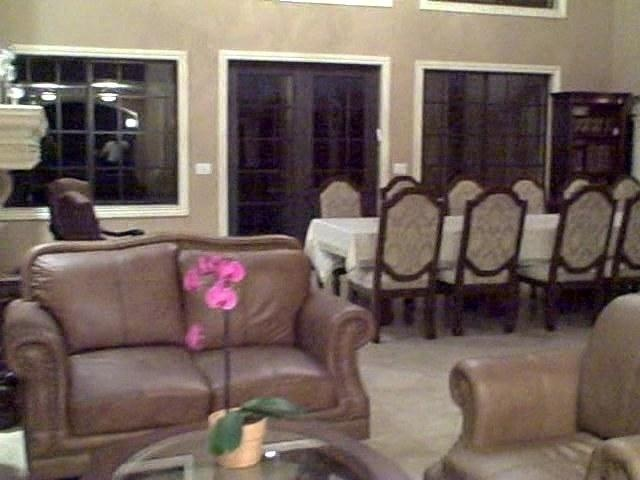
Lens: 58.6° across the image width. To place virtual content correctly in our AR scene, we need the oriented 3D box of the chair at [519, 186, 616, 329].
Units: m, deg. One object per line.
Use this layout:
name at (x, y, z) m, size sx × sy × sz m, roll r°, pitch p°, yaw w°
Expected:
chair at (1.082, 0.065, 2.563) m, size 0.335 × 0.622 × 0.398 m, roll -1°, pitch 9°, yaw -7°

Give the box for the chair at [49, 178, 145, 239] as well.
chair at (-1.118, -0.126, 2.651) m, size 0.400 × 0.278 × 0.180 m, roll 14°, pitch 13°, yaw 39°

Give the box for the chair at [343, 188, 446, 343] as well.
chair at (0.313, 0.090, 2.464) m, size 0.378 × 0.649 × 0.413 m, roll 2°, pitch 10°, yaw 2°

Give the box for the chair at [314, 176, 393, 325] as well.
chair at (0.101, -0.037, 2.909) m, size 0.293 × 0.496 × 0.308 m, roll -6°, pitch 20°, yaw -9°

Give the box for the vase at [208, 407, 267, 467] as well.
vase at (-0.157, 0.363, 1.088) m, size 0.097 × 0.078 × 0.110 m, roll -1°, pitch -4°, yaw 0°

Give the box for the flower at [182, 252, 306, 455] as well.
flower at (-0.197, 0.286, 1.398) m, size 0.250 × 0.530 × 0.335 m, roll 5°, pitch 8°, yaw 30°
